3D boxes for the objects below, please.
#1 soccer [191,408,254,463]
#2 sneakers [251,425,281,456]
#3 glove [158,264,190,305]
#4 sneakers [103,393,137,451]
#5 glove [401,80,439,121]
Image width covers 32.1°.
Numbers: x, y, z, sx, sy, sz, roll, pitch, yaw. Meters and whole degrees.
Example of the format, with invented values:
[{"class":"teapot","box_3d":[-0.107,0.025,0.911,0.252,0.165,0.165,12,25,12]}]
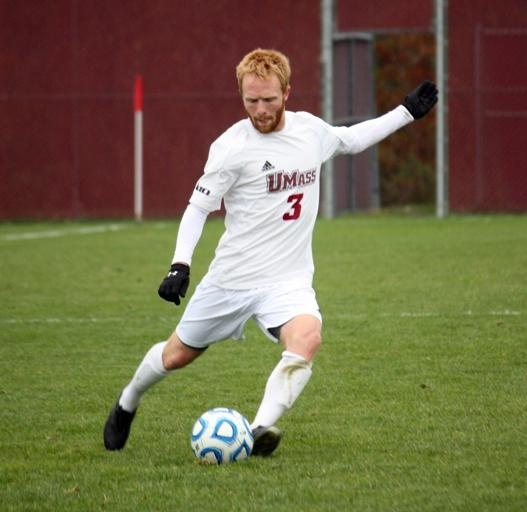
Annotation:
[{"class":"soccer","box_3d":[-0.197,0.804,4.240,0.265,0.247,0.225,-4,18,-32]},{"class":"sneakers","box_3d":[-0.003,0.858,4.221,0.072,0.082,0.197,19,-49,-26]},{"class":"glove","box_3d":[-0.384,0.131,4.225,0.142,0.185,0.080,10,-11,40]},{"class":"sneakers","box_3d":[-0.690,0.779,4.393,0.092,0.084,0.277,-1,47,20]},{"class":"glove","box_3d":[0.810,-0.792,4.683,0.228,0.133,0.060,-50,25,-19]}]
